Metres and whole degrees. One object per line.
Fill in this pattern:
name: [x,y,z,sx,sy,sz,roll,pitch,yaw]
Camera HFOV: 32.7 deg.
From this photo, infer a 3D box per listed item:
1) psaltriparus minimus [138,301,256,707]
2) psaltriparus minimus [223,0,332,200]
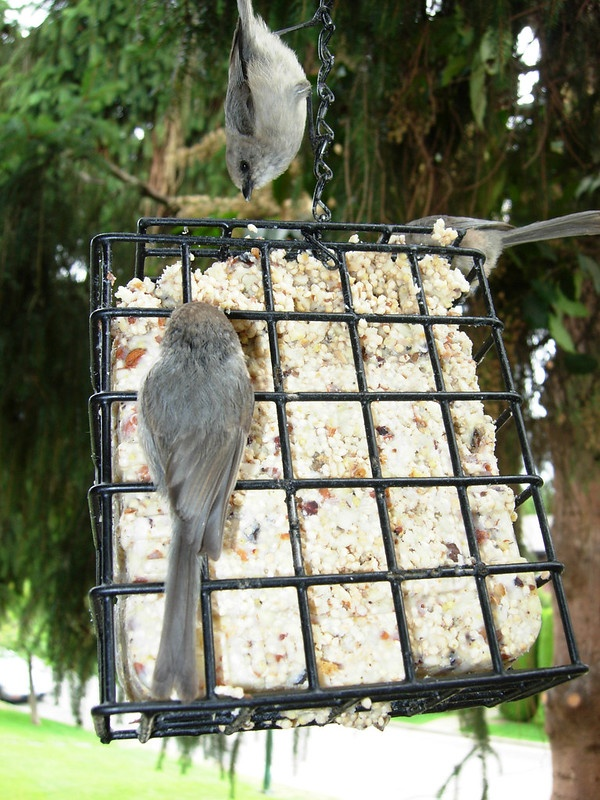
psaltriparus minimus: [-0.209,0.164,1.818,0.203,0.686,0.218,3,0,9]
psaltriparus minimus: [-0.077,-0.702,2.401,0.190,0.437,0.432,3,0,-5]
